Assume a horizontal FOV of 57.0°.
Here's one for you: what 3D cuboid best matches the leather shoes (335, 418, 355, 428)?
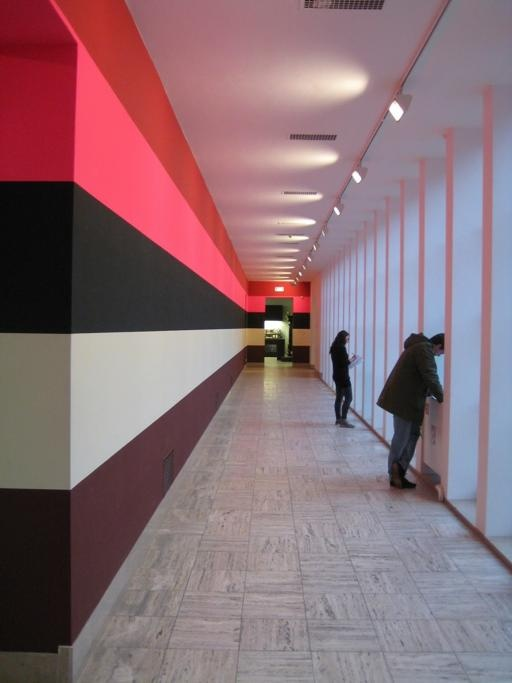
[{"bbox_3d":[1.302,1.191,6.962,0.266,0.169,0.109,1,2,17],"label":"leather shoes"}]

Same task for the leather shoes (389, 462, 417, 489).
[{"bbox_3d":[1.269,1.189,4.213,0.270,0.292,0.121,0,5,0],"label":"leather shoes"}]

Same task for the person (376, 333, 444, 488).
[{"bbox_3d":[1.375,0.617,4.126,0.302,1.405,0.704,0,0,-34],"label":"person"}]

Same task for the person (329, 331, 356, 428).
[{"bbox_3d":[1.309,0.546,7.220,0.350,1.399,1.241,0,0,9],"label":"person"}]
